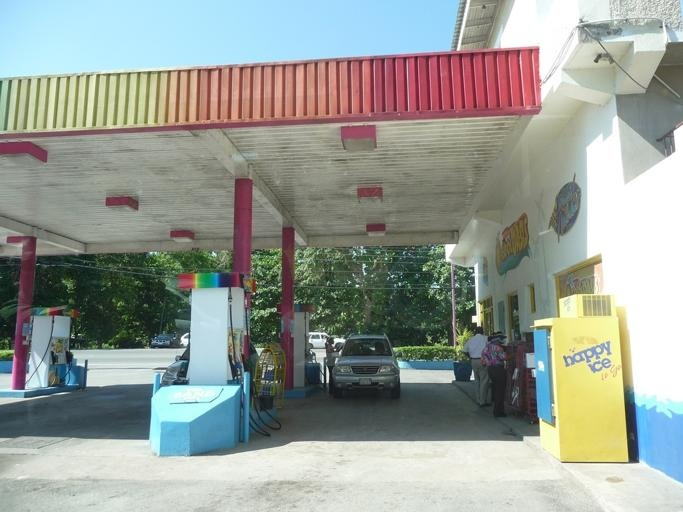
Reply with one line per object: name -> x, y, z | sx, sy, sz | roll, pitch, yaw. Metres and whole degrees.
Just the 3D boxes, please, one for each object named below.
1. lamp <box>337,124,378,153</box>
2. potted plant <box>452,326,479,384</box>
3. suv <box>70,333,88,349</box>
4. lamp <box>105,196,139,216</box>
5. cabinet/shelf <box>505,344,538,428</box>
lamp -> 0.354, -2.385, 11.517 | 0.721, 0.270, 0.746 | -5, -13, 8
potted plant -> 4.695, 3.786, 21.966 | 0.694, 1.710, 0.724 | 2, -4, -36
suv -> -21.037, 6.949, 45.671 | 1.138, 0.857, 4.504 | 3, -14, -23
lamp -> -6.011, -1.467, 15.869 | 0.713, 0.299, 1.072 | -15, -17, 43
cabinet/shelf -> 3.827, 2.760, 12.024 | 0.897, 1.710, 1.745 | 0, -9, 10
